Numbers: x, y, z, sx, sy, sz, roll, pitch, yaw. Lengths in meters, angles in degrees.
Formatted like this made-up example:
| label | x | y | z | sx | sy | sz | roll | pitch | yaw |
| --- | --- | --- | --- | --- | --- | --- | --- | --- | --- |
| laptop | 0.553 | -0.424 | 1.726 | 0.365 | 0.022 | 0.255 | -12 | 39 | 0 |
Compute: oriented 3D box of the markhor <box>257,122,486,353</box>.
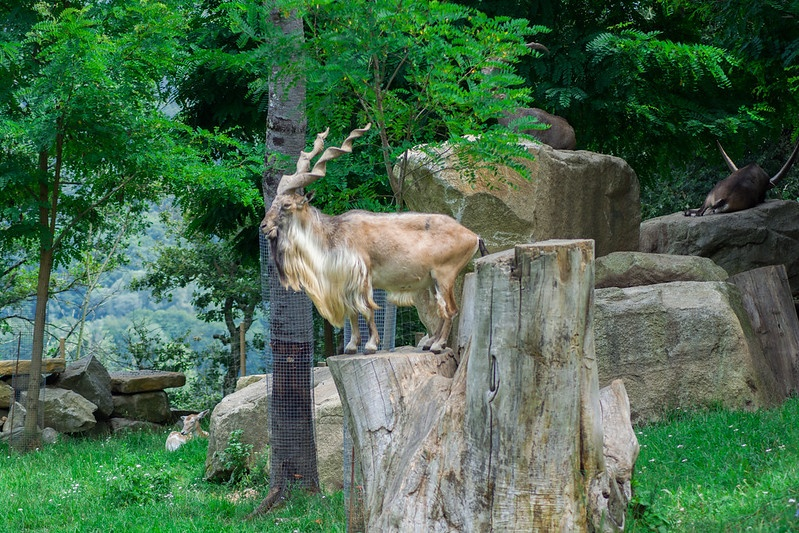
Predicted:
| label | x | y | z | sx | sy | sz | roll | pitch | yaw |
| --- | --- | --- | --- | --- | --- | --- | --- | --- | --- |
| markhor | -0.464 | -0.190 | 12.171 | 3.479 | 3.569 | 1.649 | 1 | -4 | 0 |
